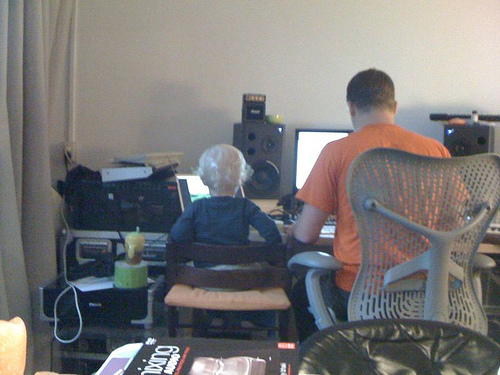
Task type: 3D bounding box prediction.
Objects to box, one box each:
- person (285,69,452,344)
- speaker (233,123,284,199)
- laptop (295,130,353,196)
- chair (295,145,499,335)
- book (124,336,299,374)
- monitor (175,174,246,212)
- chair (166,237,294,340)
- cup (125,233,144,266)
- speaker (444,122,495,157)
[{"bbox_3d":[0.592,0.220,2.512,0.745,1.466,0.792,6,22,16],"label":"person"},{"bbox_3d":[0.041,-0.159,3.242,0.308,0.437,0.243,-3,10,-6],"label":"speaker"},{"bbox_3d":[0.419,-0.097,3.189,0.331,0.462,0.247,1,-27,5],"label":"laptop"},{"bbox_3d":[0.517,0.225,2.280,0.788,1.029,0.709,0,4,-3],"label":"chair"},{"bbox_3d":[-0.096,0.442,1.382,0.439,0.069,0.093,0,6,2],"label":"book"},{"bbox_3d":[-0.211,0.025,2.765,0.367,0.167,0.523,-1,6,-3],"label":"monitor"},{"bbox_3d":[-0.073,0.383,2.470,0.513,0.747,0.490,1,17,1],"label":"chair"},{"bbox_3d":[-0.536,0.291,2.469,0.083,0.148,0.057,-1,6,-1],"label":"cup"},{"bbox_3d":[1.215,-0.262,2.910,0.229,0.226,0.125,2,11,18],"label":"speaker"}]
